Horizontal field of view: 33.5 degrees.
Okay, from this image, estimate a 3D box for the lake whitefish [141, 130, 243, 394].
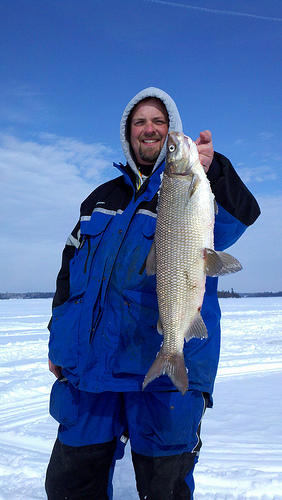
[{"bbox_3d":[0.271,0.043,2.539,0.478,1.403,0.209,0,-1,10],"label":"lake whitefish"}]
